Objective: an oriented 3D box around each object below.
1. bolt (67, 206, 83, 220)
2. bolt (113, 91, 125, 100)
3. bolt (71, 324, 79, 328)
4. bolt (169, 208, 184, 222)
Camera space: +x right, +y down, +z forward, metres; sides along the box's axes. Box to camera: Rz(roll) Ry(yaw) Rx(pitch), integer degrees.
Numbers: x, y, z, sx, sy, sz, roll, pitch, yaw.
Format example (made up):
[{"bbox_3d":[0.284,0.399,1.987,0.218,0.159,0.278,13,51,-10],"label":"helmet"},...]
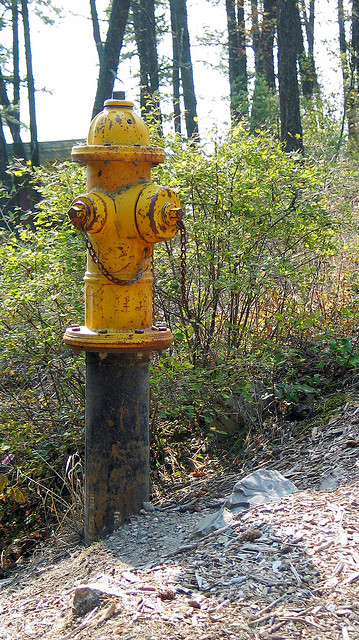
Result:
[{"bbox_3d":[-0.442,-0.456,2.774,0.049,0.060,0.073,-9,6,18],"label":"bolt"},{"bbox_3d":[-0.287,-1.066,3.106,0.046,0.030,0.044,6,12,15],"label":"bolt"},{"bbox_3d":[-0.524,0.027,3.283,0.044,0.010,0.044,0,3,-5],"label":"bolt"},{"bbox_3d":[-0.014,-0.480,2.957,0.049,0.060,0.065,2,4,-43],"label":"bolt"}]
